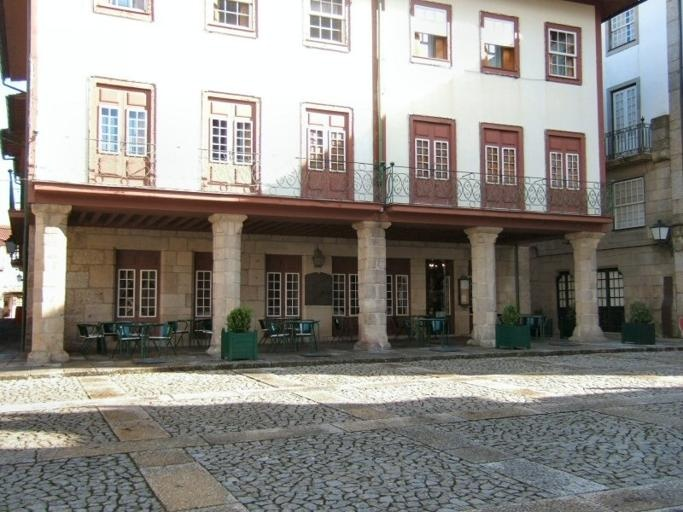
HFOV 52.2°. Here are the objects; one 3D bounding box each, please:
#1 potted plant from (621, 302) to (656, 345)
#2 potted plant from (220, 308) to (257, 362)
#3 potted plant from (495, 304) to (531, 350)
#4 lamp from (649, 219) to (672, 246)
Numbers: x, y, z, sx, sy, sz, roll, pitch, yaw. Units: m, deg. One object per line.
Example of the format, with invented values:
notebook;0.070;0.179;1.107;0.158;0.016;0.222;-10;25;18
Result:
potted plant;9.195;2.122;21.554;0.994;1.242;0.773;0;0;42
potted plant;-2.546;1.940;17.034;0.888;1.267;0.612;0;0;1
potted plant;4.904;2.102;20.101;1.011;1.266;0.602;0;0;28
lamp;11.068;-0.790;23.869;0.810;1.083;0.854;-1;2;-23
